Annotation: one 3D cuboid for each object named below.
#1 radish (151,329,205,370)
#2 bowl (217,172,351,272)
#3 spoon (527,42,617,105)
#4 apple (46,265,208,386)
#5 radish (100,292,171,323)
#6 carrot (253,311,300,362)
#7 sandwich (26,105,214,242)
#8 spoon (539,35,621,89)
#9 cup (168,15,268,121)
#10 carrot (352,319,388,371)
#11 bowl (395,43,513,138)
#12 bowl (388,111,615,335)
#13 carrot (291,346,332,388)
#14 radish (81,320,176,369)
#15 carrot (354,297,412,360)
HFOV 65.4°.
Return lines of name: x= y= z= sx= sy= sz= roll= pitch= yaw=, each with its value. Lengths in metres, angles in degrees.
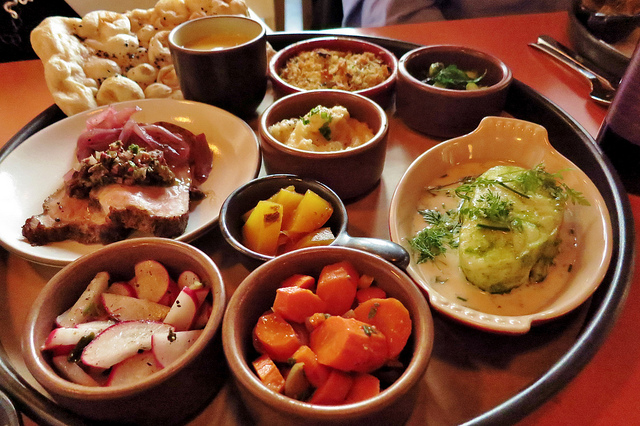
radish: x=-0.369 y=0.351 z=1.276 sx=0.126 sy=0.090 sz=0.040 roll=-7 pitch=2 yaw=-22
bowl: x=-0.063 y=0.055 z=1.536 sx=0.309 sy=0.143 sz=0.312 roll=-29 pitch=39 yaw=27
spoon: x=1.147 y=-0.629 z=2.250 sx=0.112 sy=0.060 sz=0.427 roll=-33 pitch=53 yaw=-12
apple: x=-0.510 y=0.358 z=1.384 sx=0.301 sy=0.141 sz=0.338 roll=24 pitch=48 yaw=26
radish: x=-0.526 y=0.245 z=1.389 sx=0.176 sy=0.067 sz=0.100 roll=7 pitch=44 yaw=-29
carrot: x=-0.114 y=0.318 z=1.283 sx=0.088 sy=0.043 sz=0.120 roll=-19 pitch=54 yaw=-20
sandwich: x=-0.657 y=-0.194 z=1.669 sx=0.391 sy=0.063 sz=0.552 roll=3 pitch=40 yaw=3
spoon: x=1.188 y=-0.677 z=2.246 sx=0.079 sy=0.092 sz=0.524 roll=-44 pitch=55 yaw=11
cup: x=-0.401 y=-0.569 z=1.997 sx=0.462 sy=0.410 sz=0.323 roll=-18 pitch=27 yaw=-32
carrot: x=0.135 y=0.345 z=1.298 sx=0.127 sy=0.068 sz=0.108 roll=-5 pitch=71 yaw=5
bowl: x=0.507 y=-0.507 z=1.961 sx=0.415 sy=0.199 sz=0.411 roll=-2 pitch=48 yaw=2
bowl: x=0.555 y=0.015 z=1.568 sx=0.714 sy=0.142 sz=0.694 roll=0 pitch=56 yaw=1
carrot: x=-0.018 y=0.386 z=1.293 sx=0.100 sy=0.079 sz=0.177 roll=-3 pitch=18 yaw=-12
radish: x=-0.493 y=0.344 z=1.289 sx=0.262 sy=0.064 sz=0.182 roll=13 pitch=16 yaw=42
carrot: x=0.169 y=0.295 z=1.254 sx=0.147 sy=0.037 sz=0.140 roll=-3 pitch=72 yaw=11
